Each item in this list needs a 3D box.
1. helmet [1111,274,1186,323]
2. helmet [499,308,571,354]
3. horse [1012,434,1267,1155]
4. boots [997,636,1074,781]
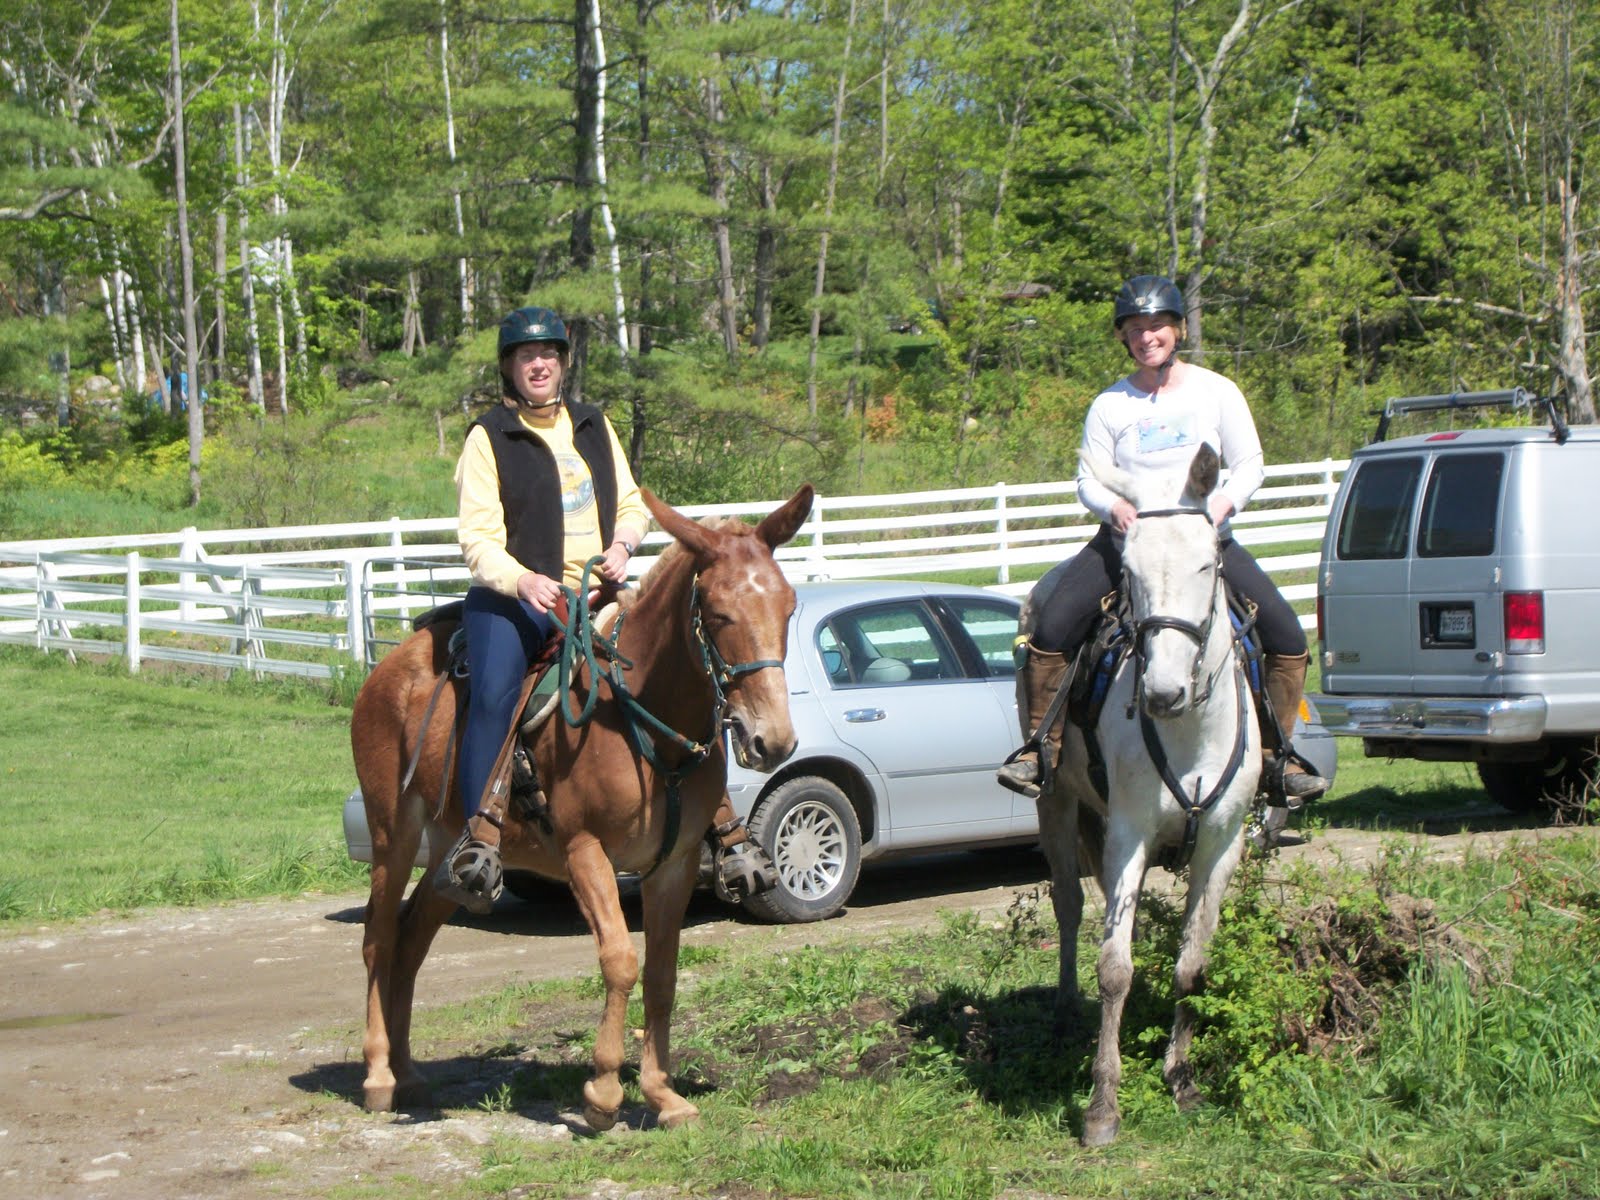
[{"bbox_3d":[2.600,-2.246,16.878,0.346,0.341,0.454,3,17,35],"label":"helmet"},{"bbox_3d":[-2.008,-1.954,16.585,0.334,0.333,0.431,-1,9,-15],"label":"helmet"},{"bbox_3d":[2.397,1.292,16.745,1.932,4.827,2.283,0,4,31],"label":"horse"},{"bbox_3d":[1.752,0.805,17.133,0.551,1.189,0.334,2,0,-31],"label":"boots"}]
